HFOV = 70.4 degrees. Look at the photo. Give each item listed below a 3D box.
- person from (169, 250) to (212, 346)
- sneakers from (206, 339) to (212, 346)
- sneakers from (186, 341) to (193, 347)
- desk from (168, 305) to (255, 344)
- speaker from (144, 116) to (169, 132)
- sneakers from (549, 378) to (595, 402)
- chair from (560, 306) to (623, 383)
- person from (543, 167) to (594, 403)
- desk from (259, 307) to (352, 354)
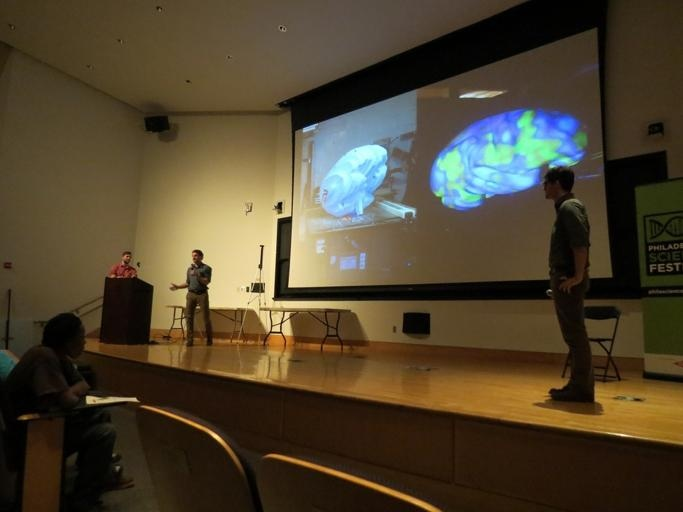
[{"bbox_3d":[-2.399,0.641,7.857,0.565,1.592,1.511,1,-4,-16],"label":"person"},{"bbox_3d":[-2.077,1.357,7.600,0.103,0.099,0.629,1,-4,-16],"label":"sneakers"},{"bbox_3d":[-2.267,1.312,7.217,0.092,0.053,0.600,1,-4,-16],"label":"sneakers"},{"bbox_3d":[-2.599,1.298,9.354,1.423,0.659,0.467,3,1,-9],"label":"desk"},{"bbox_3d":[-3.844,-2.760,10.087,0.501,0.398,0.298,2,10,4],"label":"speaker"},{"bbox_3d":[1.676,0.987,3.535,0.278,0.158,0.134,2,-7,19],"label":"sneakers"},{"bbox_3d":[2.670,0.943,5.172,0.418,0.802,0.532,2,-8,8],"label":"chair"},{"bbox_3d":[1.681,0.187,3.598,0.301,1.740,0.270,-2,-4,25],"label":"person"},{"bbox_3d":[-0.676,1.268,8.333,1.703,0.723,0.592,-5,-10,43],"label":"desk"}]
